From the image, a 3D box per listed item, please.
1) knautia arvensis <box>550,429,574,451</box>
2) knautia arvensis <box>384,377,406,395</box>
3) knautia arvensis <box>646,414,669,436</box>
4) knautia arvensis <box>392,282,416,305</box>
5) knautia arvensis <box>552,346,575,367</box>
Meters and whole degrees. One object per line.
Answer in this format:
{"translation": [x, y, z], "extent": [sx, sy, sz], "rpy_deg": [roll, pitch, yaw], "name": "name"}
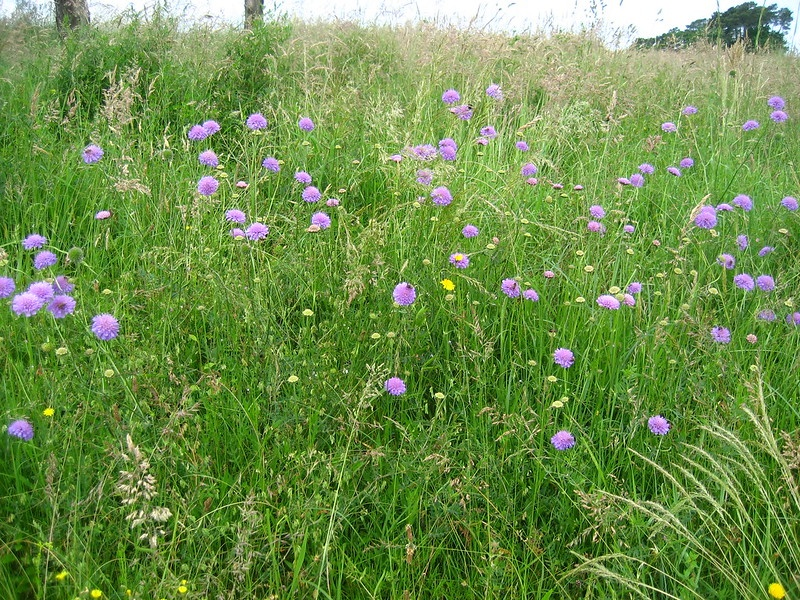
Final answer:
{"translation": [0.824, 0.701, 3.477], "extent": [0.083, 0.073, 0.089], "rpy_deg": [-9, 9, -26], "name": "knautia arvensis"}
{"translation": [-0.032, 0.441, 3.564], "extent": [0.080, 0.104, 0.088], "rpy_deg": [13, 18, 19], "name": "knautia arvensis"}
{"translation": [1.324, 0.633, 3.546], "extent": [0.089, 0.044, 0.101], "rpy_deg": [20, 43, 23], "name": "knautia arvensis"}
{"translation": [0.017, -0.041, 3.833], "extent": [0.119, 0.103, 0.128], "rpy_deg": [16, 20, 42], "name": "knautia arvensis"}
{"translation": [0.886, 0.299, 3.744], "extent": [0.089, 0.109, 0.098], "rpy_deg": [22, 43, 30], "name": "knautia arvensis"}
